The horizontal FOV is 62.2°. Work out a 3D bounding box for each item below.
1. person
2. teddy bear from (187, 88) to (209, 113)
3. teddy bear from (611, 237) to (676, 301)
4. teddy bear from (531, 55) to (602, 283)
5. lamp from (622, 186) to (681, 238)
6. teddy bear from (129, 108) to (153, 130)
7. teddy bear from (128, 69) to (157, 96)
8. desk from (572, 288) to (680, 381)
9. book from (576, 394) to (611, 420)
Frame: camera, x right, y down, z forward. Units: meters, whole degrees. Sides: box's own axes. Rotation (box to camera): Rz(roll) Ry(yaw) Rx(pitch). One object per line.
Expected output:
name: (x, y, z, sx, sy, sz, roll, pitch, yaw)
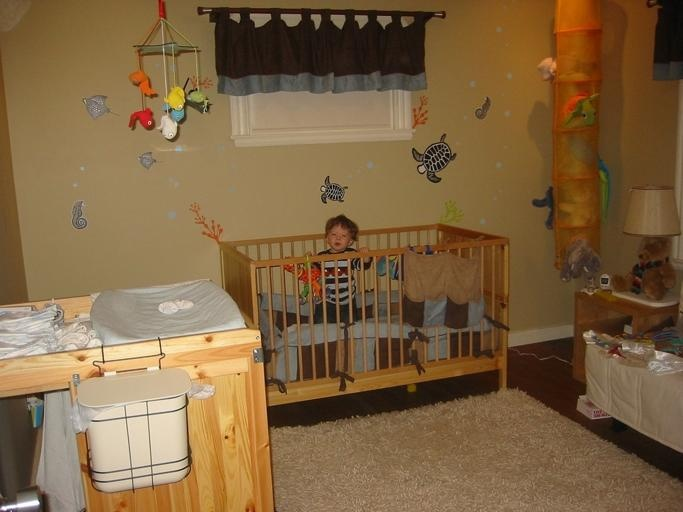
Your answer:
person: (-0.037, 0.210, 3.719, 0.378, 0.931, 0.293, 2, 20, -6)
teddy bear: (-0.936, -1.028, 3.700, 0.144, 0.186, 0.366, -4, 7, -13)
teddy bear: (2.107, 0.095, 3.918, 0.222, 0.410, 0.377, 7, 0, -24)
teddy bear: (1.753, -0.702, 4.194, 0.343, 1.610, 0.296, 1, 8, 22)
lamp: (1.982, -0.278, 3.708, 0.309, 0.350, 0.319, -6, 6, -30)
teddy bear: (-1.295, -0.906, 3.662, 0.172, 0.147, 0.316, -5, 7, -20)
teddy bear: (-1.266, -1.124, 3.624, 0.159, 0.202, 0.333, -5, 7, -18)
desk: (1.805, 0.487, 3.559, 0.264, 0.533, 0.488, -9, 15, -37)
book: (1.554, 0.958, 3.544, 0.127, 0.067, 0.135, -1, 10, -18)
